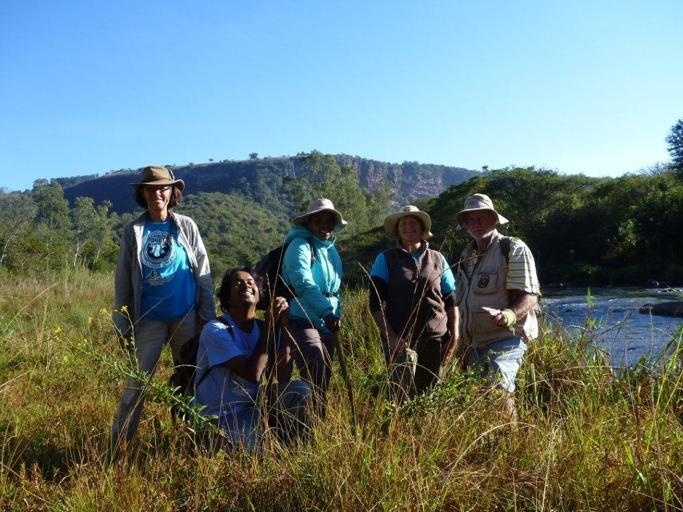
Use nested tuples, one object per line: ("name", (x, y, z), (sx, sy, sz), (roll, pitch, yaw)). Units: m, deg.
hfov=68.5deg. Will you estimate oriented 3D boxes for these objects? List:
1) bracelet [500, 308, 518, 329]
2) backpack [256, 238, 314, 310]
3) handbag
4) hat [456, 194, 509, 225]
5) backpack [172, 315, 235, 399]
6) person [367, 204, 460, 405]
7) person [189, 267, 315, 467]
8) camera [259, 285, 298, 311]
("bracelet", (1.403, 0.520, 4.228), (0.128, 0.159, 0.170), (8, -2, 3))
("backpack", (-0.629, 0.190, 4.809), (0.624, 0.771, 0.480), (-1, -12, 6))
("handbag", (1.640, 0.192, 4.623), (0.328, 0.768, 0.697), (-2, 2, 22))
("hat", (1.388, -0.487, 4.881), (0.401, 0.256, 0.387), (-1, -2, -27))
("backpack", (-1.297, 0.919, 4.394), (0.627, 0.719, 0.470), (-4, -11, 3))
("person", (0.730, 0.397, 4.881), (0.889, 1.809, 1.058), (-3, 2, -3))
("person", (-0.744, 0.783, 4.030), (0.893, 1.075, 0.880), (-3, 2, -16))
("camera", (-0.620, 0.348, 4.650), (0.227, 0.189, 0.316), (1, -16, -5))
